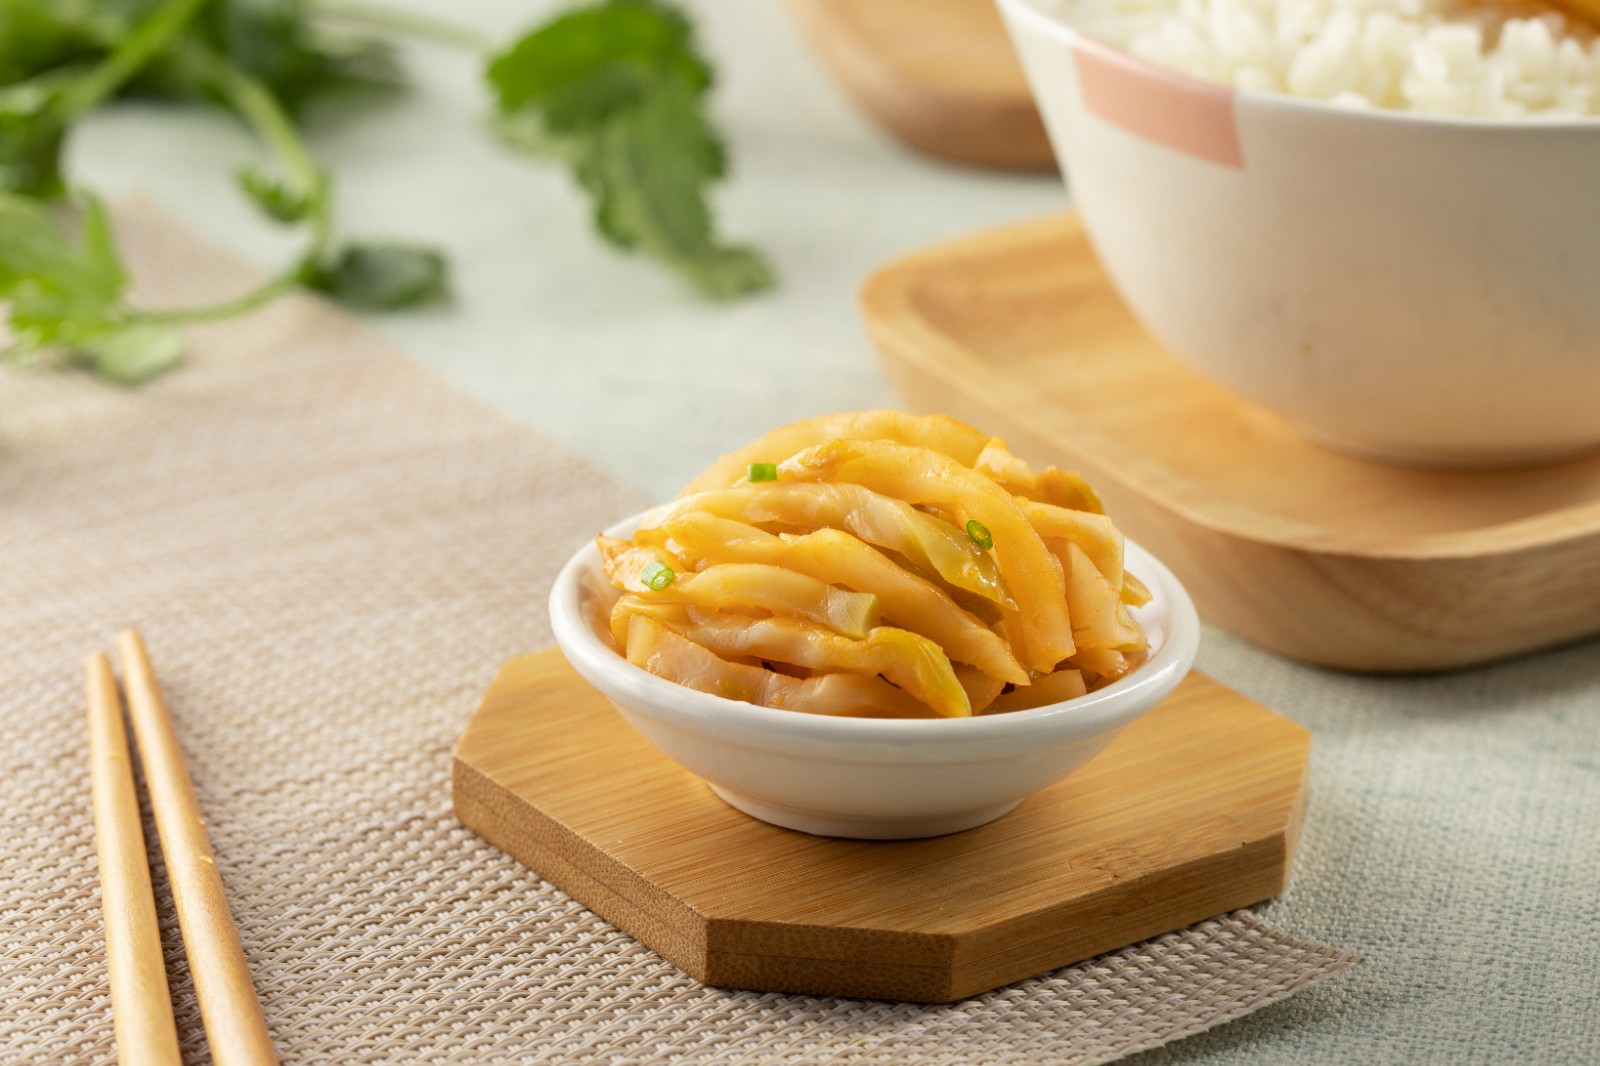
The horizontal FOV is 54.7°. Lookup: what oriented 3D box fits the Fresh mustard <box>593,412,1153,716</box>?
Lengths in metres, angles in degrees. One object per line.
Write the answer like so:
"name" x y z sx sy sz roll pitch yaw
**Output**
"Fresh mustard" 0.019 -0.002 0.676 0.191 0.074 0.188 9 15 24
